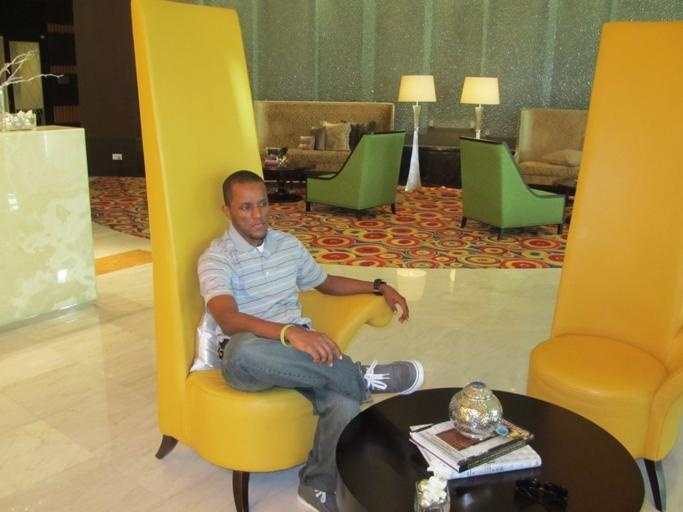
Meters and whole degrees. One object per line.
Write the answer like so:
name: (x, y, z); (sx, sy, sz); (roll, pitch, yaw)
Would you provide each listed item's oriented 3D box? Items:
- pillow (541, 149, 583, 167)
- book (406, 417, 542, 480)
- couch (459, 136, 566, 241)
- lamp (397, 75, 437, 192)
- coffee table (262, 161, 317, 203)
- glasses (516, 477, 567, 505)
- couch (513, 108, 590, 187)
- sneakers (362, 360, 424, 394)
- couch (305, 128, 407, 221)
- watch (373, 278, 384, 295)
pillow: (3.417, -1.523, 7.809); (0.392, 0.118, 0.410); (-1, 15, 34)
book: (0.409, 0.592, 1.488); (0.202, 0.036, 0.190); (-5, 10, -24)
couch: (1.932, -0.933, 6.584); (1.376, 1.528, 1.104); (-9, 17, -25)
lamp: (1.287, -2.157, 8.718); (0.988, 1.805, 0.931); (0, 15, 4)
coffee table: (-0.808, -1.244, 8.278); (0.877, 0.493, 0.816); (-6, 23, -15)
glasses: (0.552, 0.644, 1.376); (0.068, 0.018, 0.064); (-1, 5, -25)
couch: (3.261, -1.695, 8.134); (1.160, 1.117, 1.024); (1, 29, 22)
sneakers: (0.221, 0.507, 2.110); (0.318, 0.104, 0.119); (-1, 6, 8)
couch: (0.178, -1.191, 7.140); (1.110, 1.123, 0.905); (12, 21, 36)
watch: (0.168, 0.138, 2.356); (0.050, 0.071, 0.070); (3, -1, 22)
